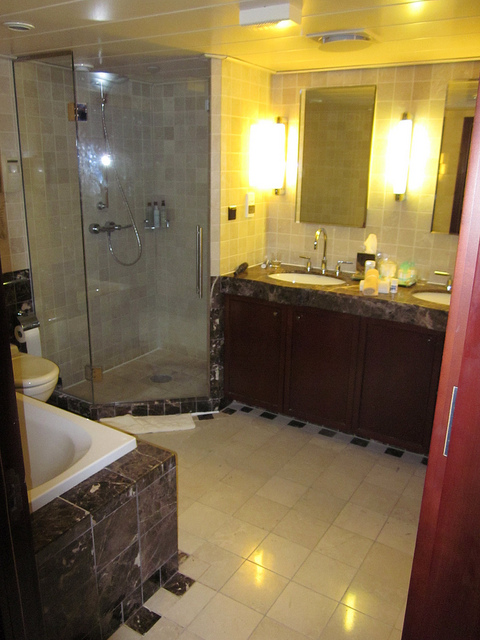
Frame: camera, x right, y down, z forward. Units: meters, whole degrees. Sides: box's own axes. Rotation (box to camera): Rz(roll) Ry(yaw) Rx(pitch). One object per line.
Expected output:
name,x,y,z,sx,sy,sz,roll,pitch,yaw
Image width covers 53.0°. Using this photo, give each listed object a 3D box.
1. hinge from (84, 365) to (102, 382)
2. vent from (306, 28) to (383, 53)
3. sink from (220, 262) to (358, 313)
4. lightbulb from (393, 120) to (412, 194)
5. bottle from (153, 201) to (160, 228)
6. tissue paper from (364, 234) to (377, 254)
hinge,-1.018,0.376,3.373,0.111,0.122,0.108,3,-16,-12
vent,0.534,-1.422,2.458,0.341,0.044,0.324,9,17,25
sink,0.417,-0.265,3.489,0.929,0.186,0.678,11,17,31
lightbulb,1.063,-1.075,3.174,0.086,0.453,0.087,6,14,18
bottle,-0.647,-0.818,3.724,0.058,0.194,0.010,10,16,30
tissue paper,0.923,-0.543,3.416,0.079,0.132,0.060,5,14,12
